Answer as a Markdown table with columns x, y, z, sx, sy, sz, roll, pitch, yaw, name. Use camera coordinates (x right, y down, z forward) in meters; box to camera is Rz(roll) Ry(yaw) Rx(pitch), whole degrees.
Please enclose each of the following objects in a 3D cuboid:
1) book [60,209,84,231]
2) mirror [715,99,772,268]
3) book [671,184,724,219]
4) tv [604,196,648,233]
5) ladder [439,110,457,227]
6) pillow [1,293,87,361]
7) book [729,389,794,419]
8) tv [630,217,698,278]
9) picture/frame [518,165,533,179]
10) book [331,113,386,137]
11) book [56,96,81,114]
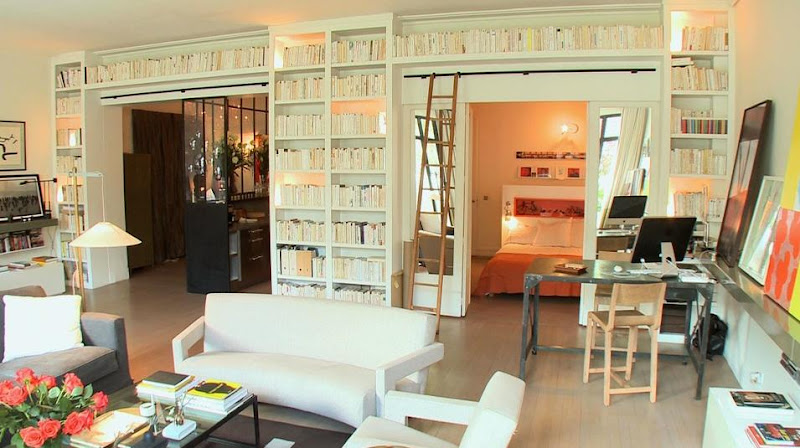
| x | y | z | sx | sy | sz | roll | pitch | yaw | name |
| --- | --- | --- | --- | --- | --- | --- | --- | --- | --- |
| -6.394 | -0.065 | 10.701 | 0.448 | 0.394 | 0.236 | 3 | 7 | 15 | book |
| 4.980 | -0.622 | 7.986 | 1.068 | 2.307 | 0.589 | -12 | 14 | -41 | mirror |
| 4.798 | -0.337 | 8.760 | 0.605 | 0.528 | 0.328 | 1 | 6 | 16 | book |
| 3.479 | -0.206 | 8.581 | 0.792 | 0.492 | 0.275 | 5 | 20 | 2 | tv |
| 0.874 | -1.272 | 9.396 | 0.116 | 1.330 | 0.281 | 5 | -2 | -9 | ladder |
| -4.673 | 1.367 | 7.151 | 0.868 | 0.698 | 0.282 | -5 | -6 | -10 | pillow |
| 4.086 | 2.000 | 6.171 | 0.682 | 0.180 | 0.279 | -1 | 10 | 8 | book |
| 3.717 | 0.340 | 7.714 | 0.898 | 0.587 | 0.300 | 1 | 14 | 0 | tv |
| 3.051 | -1.267 | 13.207 | 0.373 | 0.300 | 0.119 | 1 | 5 | 12 | picture/frame |
| -0.691 | -1.725 | 9.405 | 0.950 | 0.386 | 0.394 | -3 | 10 | -2 | book |
| -6.649 | -2.396 | 11.021 | 0.411 | 0.271 | 0.228 | 3 | 8 | 20 | book |
